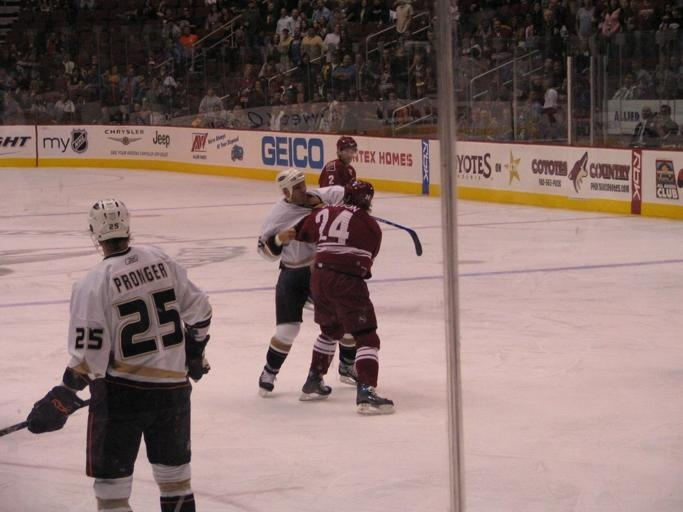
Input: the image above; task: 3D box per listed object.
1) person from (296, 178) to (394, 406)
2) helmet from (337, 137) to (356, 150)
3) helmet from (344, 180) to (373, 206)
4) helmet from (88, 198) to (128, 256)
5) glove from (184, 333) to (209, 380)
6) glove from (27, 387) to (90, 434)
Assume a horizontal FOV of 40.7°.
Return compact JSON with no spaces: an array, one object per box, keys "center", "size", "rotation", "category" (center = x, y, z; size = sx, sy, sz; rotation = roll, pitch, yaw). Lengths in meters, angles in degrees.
[{"center":[0.045,0.348,6.400],"size":[0.393,1.383,0.753],"rotation":[-6,7,-37],"category":"person"},{"center":[0.052,-1.190,9.768],"size":[0.185,0.144,0.262],"rotation":[-2,6,0],"category":"helmet"},{"center":[0.124,-0.452,6.476],"size":[0.150,0.179,0.190],"rotation":[17,30,9],"category":"helmet"},{"center":[-1.172,-0.159,4.765],"size":[0.221,0.263,0.277],"rotation":[-6,14,-16],"category":"helmet"},{"center":[-0.771,0.535,4.909],"size":[0.217,0.212,0.087],"rotation":[0,0,-33],"category":"glove"},{"center":[-1.445,0.836,4.671],"size":[0.270,0.267,0.114],"rotation":[-32,45,5],"category":"glove"}]
